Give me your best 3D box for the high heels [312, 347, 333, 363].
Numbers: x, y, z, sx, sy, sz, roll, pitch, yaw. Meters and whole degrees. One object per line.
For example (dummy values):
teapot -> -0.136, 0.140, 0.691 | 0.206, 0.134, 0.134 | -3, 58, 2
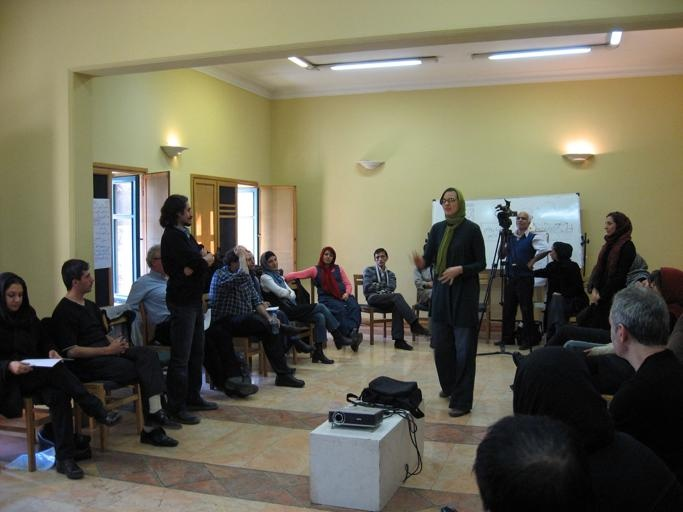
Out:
high heels -> -0.255, 1.236, 6.514 | 0.330, 0.220, 0.121 | -1, -3, 3

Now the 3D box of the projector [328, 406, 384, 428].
projector -> 0.089, 0.992, 3.317 | 0.333, 0.103, 0.245 | 0, 3, 13

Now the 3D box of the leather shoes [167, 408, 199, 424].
leather shoes -> -1.327, 1.351, 4.488 | 0.244, 0.088, 0.115 | 4, -1, 5

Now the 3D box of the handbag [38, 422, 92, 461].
handbag -> -1.967, 1.330, 3.765 | 0.404, 0.272, 0.137 | -11, 1, -2

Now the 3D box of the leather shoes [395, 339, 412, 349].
leather shoes -> 0.839, 1.221, 7.310 | 0.269, 0.180, 0.096 | -5, -3, 37

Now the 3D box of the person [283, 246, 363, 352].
person -> -0.188, 0.594, 7.437 | 0.965, 1.404, 1.009 | -4, -1, -29

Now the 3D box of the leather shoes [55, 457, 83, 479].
leather shoes -> -1.780, 1.401, 3.540 | 0.241, 0.102, 0.089 | 1, -1, 29

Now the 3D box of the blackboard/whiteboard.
blackboard/whiteboard -> 2.610, -0.324, 8.032 | 2.242, 1.271, 0.063 | 0, -10, -6

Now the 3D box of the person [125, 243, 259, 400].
person -> -1.485, 0.536, 5.065 | 1.031, 1.231, 0.721 | 5, 5, -4

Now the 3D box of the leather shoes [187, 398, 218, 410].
leather shoes -> -1.242, 1.339, 4.812 | 0.277, 0.116, 0.100 | -1, 3, -11

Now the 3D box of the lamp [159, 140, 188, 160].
lamp -> -2.289, -1.423, 7.199 | 0.255, 0.109, 0.280 | -2, -4, 22

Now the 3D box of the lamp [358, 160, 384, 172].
lamp -> 0.492, -1.514, 8.950 | 0.478, 0.176, 0.189 | 0, 3, 11
